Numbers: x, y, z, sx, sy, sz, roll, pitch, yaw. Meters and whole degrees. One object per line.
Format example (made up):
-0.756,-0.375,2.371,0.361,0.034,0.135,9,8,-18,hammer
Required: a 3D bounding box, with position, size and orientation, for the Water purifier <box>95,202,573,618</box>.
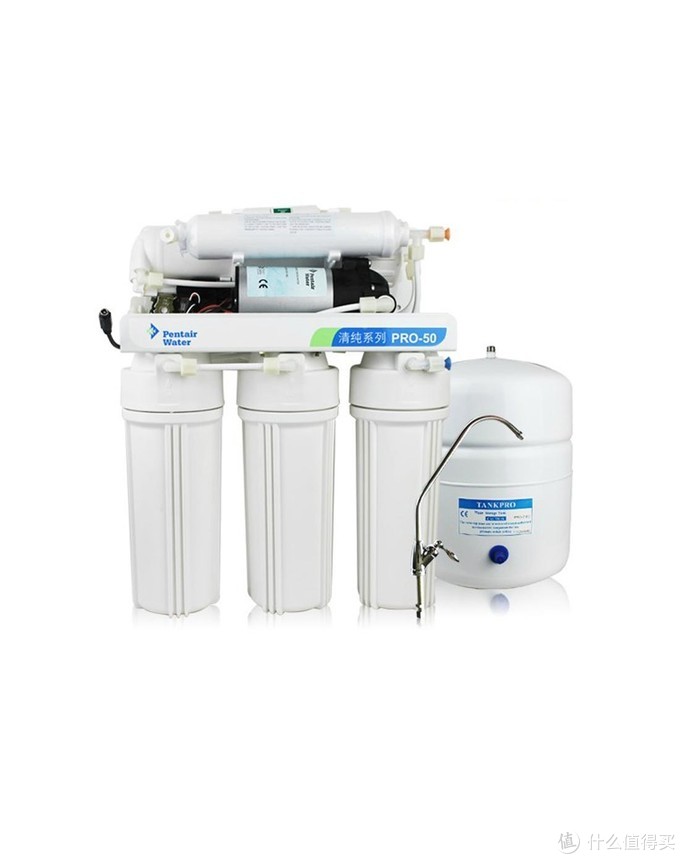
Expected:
-0.068,-0.031,2.538,1.190,0.912,0.486,-1,5,-13,Water purifier
